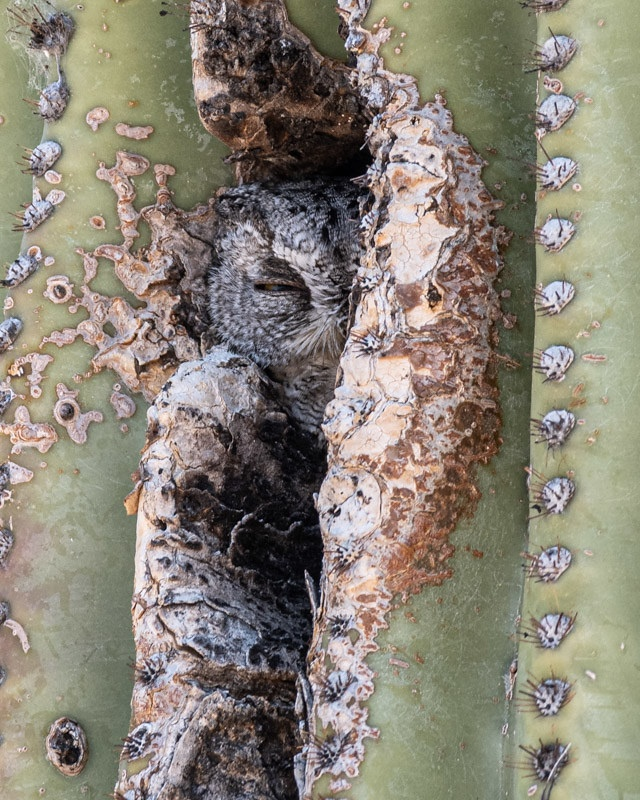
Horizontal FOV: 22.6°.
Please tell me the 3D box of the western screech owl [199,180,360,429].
[{"bbox_3d":[-0.049,-0.223,3.649,0.437,0.422,0.584,-9,95,-18],"label":"western screech owl"}]
